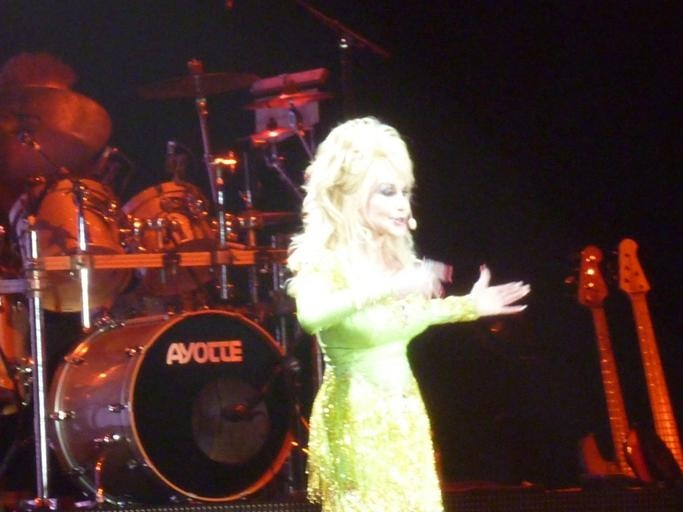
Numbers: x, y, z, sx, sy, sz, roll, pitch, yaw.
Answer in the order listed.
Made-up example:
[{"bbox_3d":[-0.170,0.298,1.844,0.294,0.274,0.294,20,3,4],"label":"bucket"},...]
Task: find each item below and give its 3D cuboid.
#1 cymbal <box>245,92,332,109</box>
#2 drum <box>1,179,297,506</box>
[{"bbox_3d":[-0.363,-1.082,5.460,0.579,0.125,0.285,1,2,36],"label":"cymbal"},{"bbox_3d":[-1.160,0.512,5.100,1.693,2.086,0.819,-1,3,-4],"label":"drum"}]
